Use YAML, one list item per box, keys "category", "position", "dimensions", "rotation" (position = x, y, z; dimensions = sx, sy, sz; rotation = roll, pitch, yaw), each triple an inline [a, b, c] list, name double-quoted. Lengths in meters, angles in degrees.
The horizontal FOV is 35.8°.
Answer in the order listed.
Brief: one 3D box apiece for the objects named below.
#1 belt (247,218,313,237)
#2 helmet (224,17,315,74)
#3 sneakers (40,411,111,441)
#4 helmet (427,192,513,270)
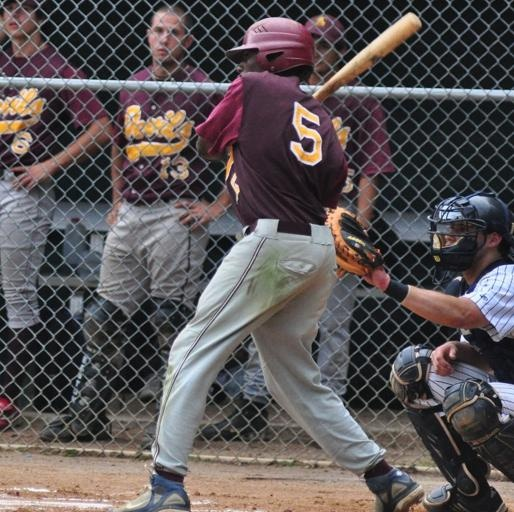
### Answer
- category: "belt"
  position: [0.081, -0.105, 2.921]
  dimensions: [0.243, 0.065, 0.068]
  rotation: [3, 18, 0]
- category: "helmet"
  position: [0.089, -0.807, 3.052]
  dimensions: [0.387, 0.145, 0.209]
  rotation: [6, 7, 9]
- category: "sneakers"
  position: [-0.938, 0.888, 4.168]
  dimensions: [0.364, 0.186, 0.198]
  rotation: [1, 18, -9]
- category: "helmet"
  position: [0.822, -0.100, 3.096]
  dimensions: [0.446, 0.256, 0.281]
  rotation: [3, 1, -9]
